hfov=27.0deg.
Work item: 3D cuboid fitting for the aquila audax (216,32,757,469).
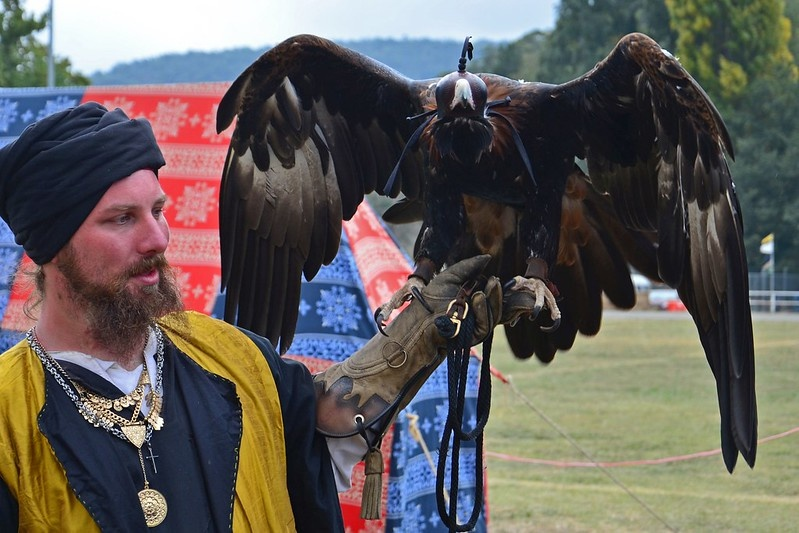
[{"bbox_3d":[0.918,-0.457,18.529,4.407,4.854,7.748,1,-3,4],"label":"aquila audax"}]
